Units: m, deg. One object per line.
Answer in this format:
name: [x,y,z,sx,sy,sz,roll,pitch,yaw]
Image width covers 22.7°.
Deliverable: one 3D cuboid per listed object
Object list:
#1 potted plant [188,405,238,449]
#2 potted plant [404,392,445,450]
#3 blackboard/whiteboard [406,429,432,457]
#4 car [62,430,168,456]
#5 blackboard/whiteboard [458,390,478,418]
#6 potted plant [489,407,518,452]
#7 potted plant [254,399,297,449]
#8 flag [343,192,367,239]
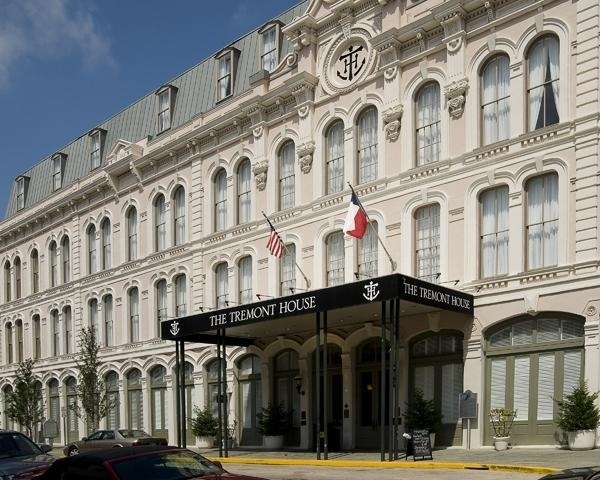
potted plant: [-3.741,8.116,64.558,1.776,1.970,1.481,5,-8,-36]
potted plant: [4.786,7.029,58.113,1.530,2.882,1.777,0,-11,-6]
blackboard/whiteboard: [4.367,7.471,54.467,0.694,1.047,0.591,7,-34,-16]
car: [-7.413,8.127,60.398,4.837,1.527,2.290,-11,-16,38]
blackboard/whiteboard: [6.443,6.279,56.679,0.902,1.386,0.246,-4,-9,39]
potted plant: [7.699,7.256,56.231,1.261,1.923,1.246,-1,-23,7]
potted plant: [-1.017,7.827,62.853,1.090,2.073,1.245,4,-9,-30]
flag: [2.100,-0.956,57.723,0.663,1.623,1.193,-6,-18,24]
